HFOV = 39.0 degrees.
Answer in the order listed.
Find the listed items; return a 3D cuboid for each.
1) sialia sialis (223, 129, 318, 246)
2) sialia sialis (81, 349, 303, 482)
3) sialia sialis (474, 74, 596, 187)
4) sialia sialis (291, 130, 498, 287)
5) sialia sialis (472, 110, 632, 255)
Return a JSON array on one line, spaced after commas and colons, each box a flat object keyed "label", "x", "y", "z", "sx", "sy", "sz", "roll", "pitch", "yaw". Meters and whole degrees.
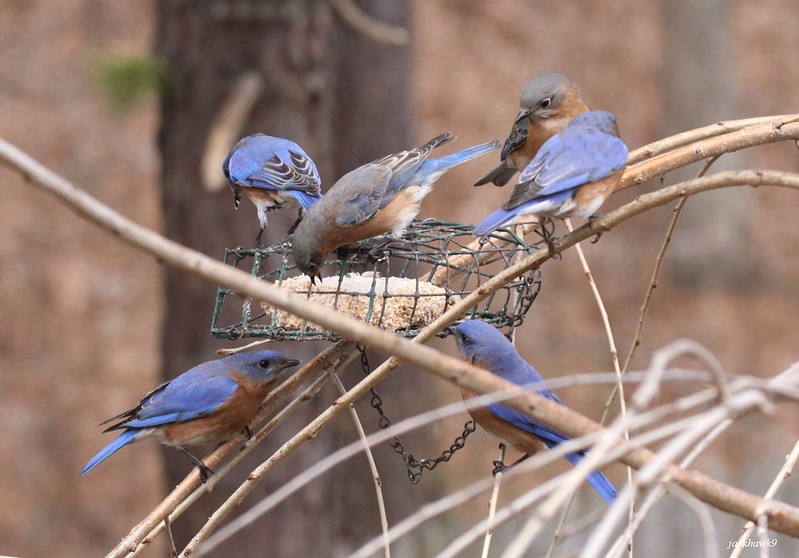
[{"label": "sialia sialis", "x": -1.257, "y": -0.954, "z": 11.078, "sx": 0.694, "sy": 1.246, "sz": 1.020, "roll": -6, "pitch": -74, "yaw": -38}, {"label": "sialia sialis", "x": -1.788, "y": 1.167, "z": 10.283, "sx": 2.293, "sy": 0.914, "sz": 1.468, "roll": 4, "pitch": -78, "yaw": -4}, {"label": "sialia sialis", "x": 1.265, "y": -1.498, "z": 10.272, "sx": 0.860, "sy": 0.621, "sz": 1.135, "roll": -1, "pitch": -74, "yaw": 8}, {"label": "sialia sialis", "x": -0.032, "y": -0.770, "z": 10.665, "sx": 2.233, "sy": 0.660, "sz": 0.826, "roll": -37, "pitch": -73, "yaw": -5}, {"label": "sialia sialis", "x": 1.396, "y": -0.876, "z": 9.267, "sx": 1.711, "sy": 0.619, "sz": 0.785, "roll": -24, "pitch": -72, "yaw": -39}]
